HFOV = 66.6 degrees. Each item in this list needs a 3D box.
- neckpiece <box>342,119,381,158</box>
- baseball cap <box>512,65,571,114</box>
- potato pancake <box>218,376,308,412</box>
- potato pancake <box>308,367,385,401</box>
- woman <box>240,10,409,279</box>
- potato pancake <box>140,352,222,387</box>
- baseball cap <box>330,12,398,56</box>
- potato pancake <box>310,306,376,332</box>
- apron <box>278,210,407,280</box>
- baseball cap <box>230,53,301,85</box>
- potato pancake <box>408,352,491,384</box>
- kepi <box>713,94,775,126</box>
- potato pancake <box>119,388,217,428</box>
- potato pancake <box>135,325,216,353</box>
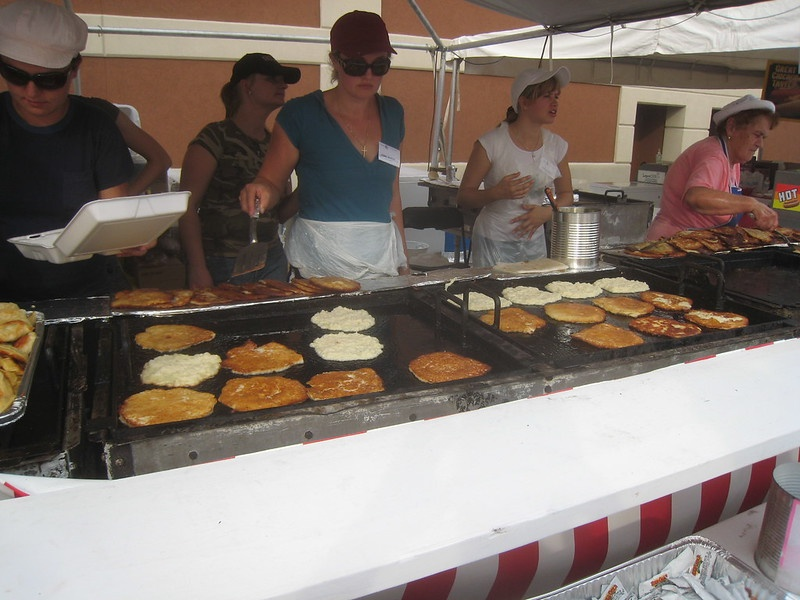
[{"bbox_3d":[-0.208,-0.936,3.504,0.058,0.194,0.238,-15,4,46],"label":"neckpiece"},{"bbox_3d":[1.017,-1.549,4.446,0.407,0.300,0.317,1,17,8],"label":"baseball cap"},{"bbox_3d":[-0.520,0.348,2.280,0.179,0.015,0.165,9,14,19],"label":"potato pancake"},{"bbox_3d":[-0.221,0.324,2.387,0.298,0.033,0.228,-3,14,-11],"label":"potato pancake"},{"bbox_3d":[-0.355,-0.825,3.431,1.150,1.498,0.682,-9,20,-24],"label":"woman"},{"bbox_3d":[-0.871,0.281,2.431,0.296,0.072,0.257,-3,15,-8],"label":"potato pancake"},{"bbox_3d":[-0.201,-1.404,3.217,0.275,0.154,0.336,-12,23,-27],"label":"baseball cap"},{"bbox_3d":[-0.261,0.088,2.933,0.280,0.069,0.269,7,16,29],"label":"potato pancake"},{"bbox_3d":[-0.348,-0.349,3.591,0.661,0.301,0.423,-3,21,-14],"label":"apron"},{"bbox_3d":[-0.881,-1.516,3.963,0.452,0.125,0.241,-4,14,-7],"label":"baseball cap"},{"bbox_3d":[0.197,0.269,2.485,0.315,0.050,0.246,-4,15,-12],"label":"potato pancake"},{"bbox_3d":[2.357,-1.276,4.210,0.307,0.102,0.296,-10,-5,-11],"label":"kepi"},{"bbox_3d":[-0.821,0.378,2.169,0.320,0.050,0.268,-5,15,-17],"label":"potato pancake"},{"bbox_3d":[-1.001,0.160,2.679,0.253,0.065,0.294,11,18,38],"label":"potato pancake"}]
